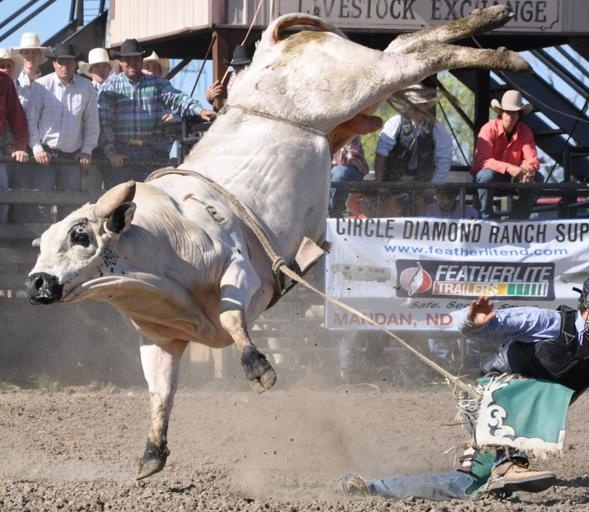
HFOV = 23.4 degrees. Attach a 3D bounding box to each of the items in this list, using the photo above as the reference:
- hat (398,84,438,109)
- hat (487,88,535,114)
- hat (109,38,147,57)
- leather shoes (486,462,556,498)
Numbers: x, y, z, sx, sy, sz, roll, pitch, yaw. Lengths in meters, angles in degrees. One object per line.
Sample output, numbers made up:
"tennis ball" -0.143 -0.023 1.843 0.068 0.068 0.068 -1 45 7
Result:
"hat" 1.179 -1.502 13.448 0.277 0.063 0.283 27 32 31
"hat" 2.651 -1.885 17.126 0.549 0.235 0.594 4 -13 14
"hat" -1.851 -2.329 16.092 0.400 0.167 0.445 -7 0 2
"leather shoes" 2.017 1.862 12.051 0.678 0.230 0.282 -12 48 26
